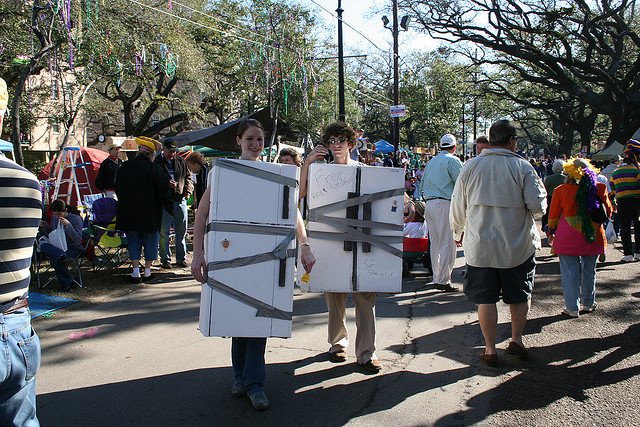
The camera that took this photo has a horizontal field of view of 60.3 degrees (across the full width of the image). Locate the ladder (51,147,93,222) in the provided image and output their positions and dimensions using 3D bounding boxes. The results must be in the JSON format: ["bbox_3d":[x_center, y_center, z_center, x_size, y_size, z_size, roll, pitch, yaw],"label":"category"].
[{"bbox_3d":[-5.699,-0.652,12.791,0.827,1.973,0.958,3,0,-18],"label":"ladder"}]

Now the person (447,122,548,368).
[{"bbox_3d":[2.275,0.374,7.025,1.110,3.073,0.572,0,4,21],"label":"person"}]

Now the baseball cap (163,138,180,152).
[{"bbox_3d":[-3.034,-1.378,11.085,0.361,0.190,0.272,21,13,30],"label":"baseball cap"}]

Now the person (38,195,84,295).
[{"bbox_3d":[-4.523,0.540,9.657,0.740,1.540,1.131,-3,4,-23],"label":"person"}]

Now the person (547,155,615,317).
[{"bbox_3d":[3.999,0.339,8.503,0.857,2.396,0.834,0,4,27],"label":"person"}]

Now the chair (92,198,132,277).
[{"bbox_3d":[-3.960,0.479,10.663,0.848,1.236,0.856,15,8,-12],"label":"chair"}]

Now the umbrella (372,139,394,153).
[{"bbox_3d":[3.019,-3.167,26.053,1.438,0.648,1.441,-1,8,1],"label":"umbrella"}]

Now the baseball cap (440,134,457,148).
[{"bbox_3d":[2.304,-1.302,9.913,0.242,0.248,0.564,-1,4,11],"label":"baseball cap"}]

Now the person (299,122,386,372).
[{"bbox_3d":[0.346,0.477,6.876,1.132,3.204,1.102,0,11,2],"label":"person"}]

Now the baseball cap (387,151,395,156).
[{"bbox_3d":[2.683,-2.221,20.634,0.186,0.141,0.237,2,28,1],"label":"baseball cap"}]
